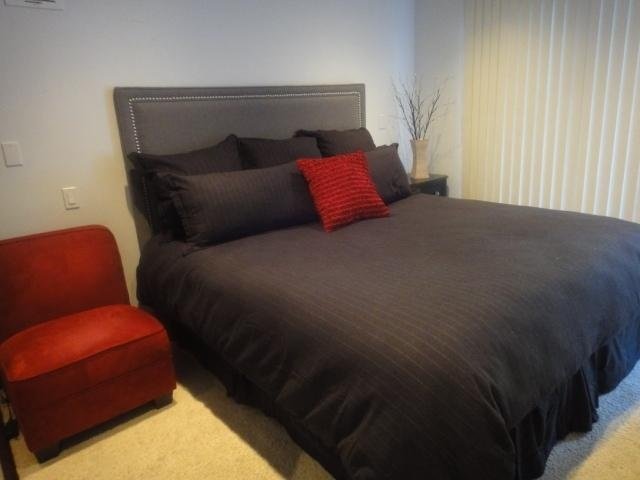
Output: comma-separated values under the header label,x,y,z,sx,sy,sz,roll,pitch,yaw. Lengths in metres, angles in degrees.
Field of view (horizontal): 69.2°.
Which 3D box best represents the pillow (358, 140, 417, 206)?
label,x,y,z,sx,sy,sz,roll,pitch,yaw
pillow,0.492,-0.481,3.354,0.111,0.405,0.385,-21,-1,45
